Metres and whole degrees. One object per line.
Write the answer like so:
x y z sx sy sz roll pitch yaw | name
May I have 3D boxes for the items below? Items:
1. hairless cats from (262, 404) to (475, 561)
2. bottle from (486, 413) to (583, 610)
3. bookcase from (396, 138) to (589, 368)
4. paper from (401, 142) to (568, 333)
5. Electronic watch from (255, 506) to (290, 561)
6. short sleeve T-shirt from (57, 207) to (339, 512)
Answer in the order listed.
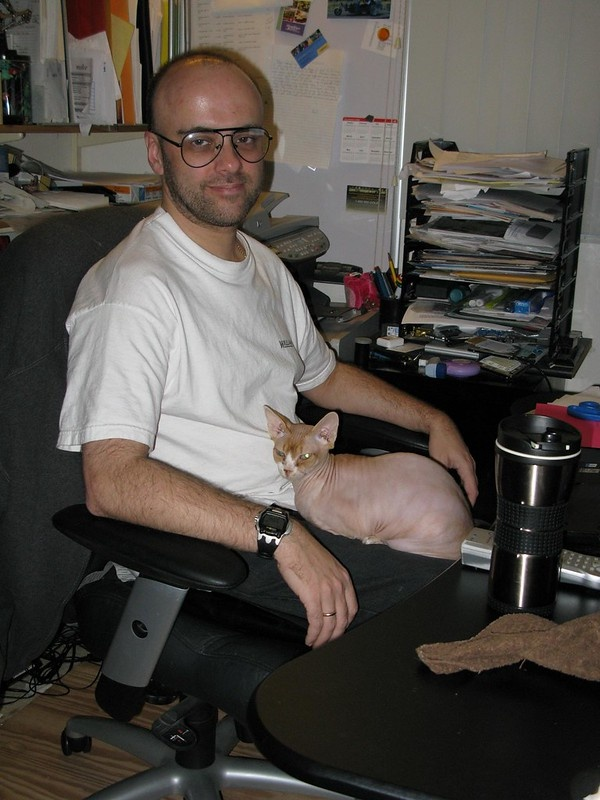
0.134 0.131 1.111 0.364 0.231 0.117 5 16 -2 | hairless cats
0.243 0.111 0.697 0.079 0.184 0.140 3 16 16 | bottle
0.517 -0.388 1.793 0.541 0.483 0.408 14 33 27 | bookcase
0.501 -0.429 1.780 0.497 0.508 0.246 10 29 27 | paper
-0.037 0.168 0.867 0.042 0.060 0.065 15 37 9 | Electronic watch
-0.136 -0.068 1.178 0.335 0.480 0.640 5 18 37 | short sleeve T-shirt
